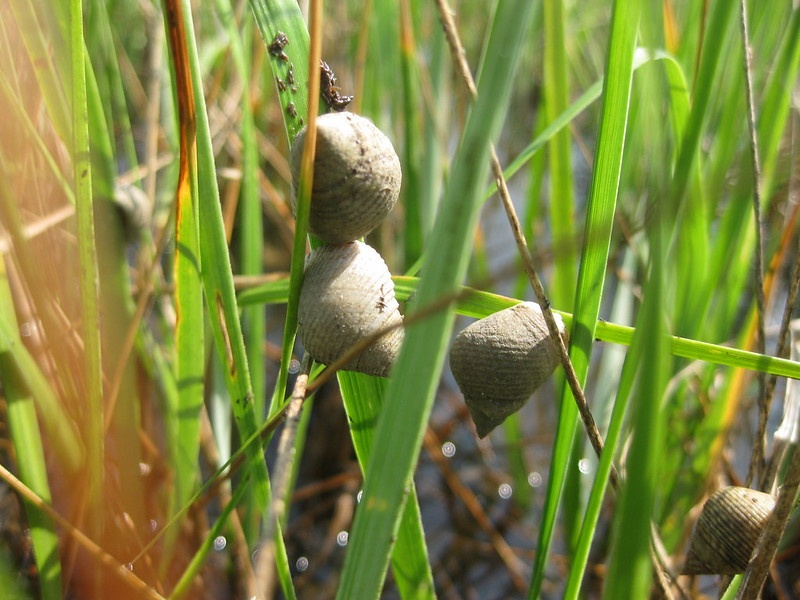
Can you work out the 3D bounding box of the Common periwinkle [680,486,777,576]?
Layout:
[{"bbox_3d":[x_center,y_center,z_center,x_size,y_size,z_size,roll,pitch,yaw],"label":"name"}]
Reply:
[{"bbox_3d":[0.340,0.243,1.002,0.050,0.101,0.073,31,4,-32],"label":"Common periwinkle"}]

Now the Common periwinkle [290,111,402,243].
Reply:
[{"bbox_3d":[-0.055,-0.137,0.980,0.099,0.130,0.069,-31,24,-2],"label":"Common periwinkle"}]

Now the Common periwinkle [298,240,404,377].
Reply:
[{"bbox_3d":[-0.049,0.022,1.032,0.100,0.132,0.060,-36,-10,-2],"label":"Common periwinkle"}]
